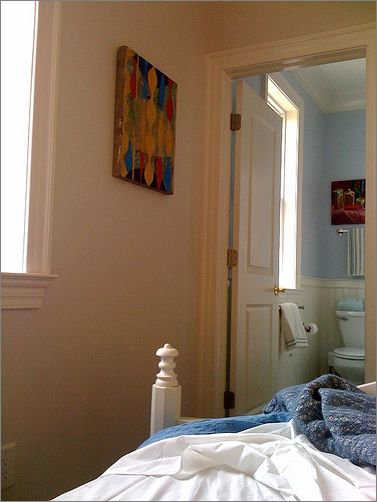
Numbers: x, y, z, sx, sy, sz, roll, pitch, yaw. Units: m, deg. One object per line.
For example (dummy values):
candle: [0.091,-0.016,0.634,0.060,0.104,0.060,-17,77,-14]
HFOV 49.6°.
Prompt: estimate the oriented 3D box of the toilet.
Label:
toilet: [1.665,1.003,4.101,0.381,0.753,0.599,-4,-2,29]
